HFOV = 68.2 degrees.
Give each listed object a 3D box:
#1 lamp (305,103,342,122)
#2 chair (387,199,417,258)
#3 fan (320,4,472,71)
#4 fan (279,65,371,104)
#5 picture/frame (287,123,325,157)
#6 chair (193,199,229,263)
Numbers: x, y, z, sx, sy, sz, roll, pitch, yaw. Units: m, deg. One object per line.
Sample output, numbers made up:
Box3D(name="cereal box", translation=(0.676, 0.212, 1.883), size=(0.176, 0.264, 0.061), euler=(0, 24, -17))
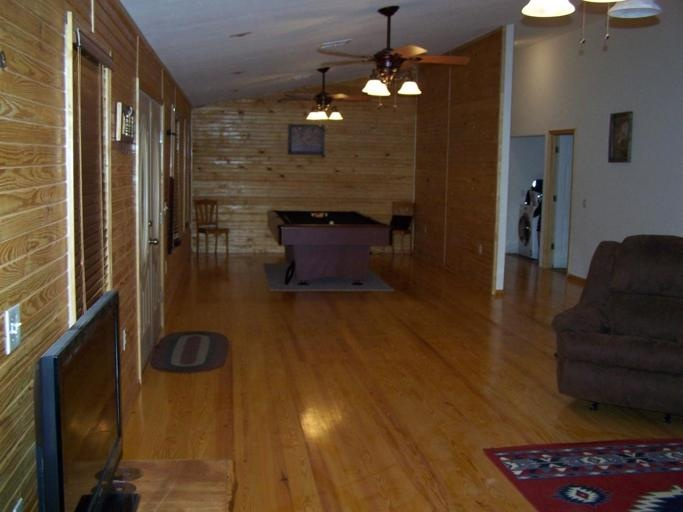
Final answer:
Box3D(name="lamp", translation=(-0.223, -2.102, 7.376), size=(0.330, 0.222, 0.656), euler=(5, 11, 23))
Box3D(name="chair", translation=(1.276, -0.572, 10.501), size=(0.514, 1.094, 0.525), euler=(1, 10, 2))
Box3D(name="fan", translation=(0.611, -2.309, 5.543), size=(1.380, 0.800, 1.933), euler=(2, 10, 5))
Box3D(name="fan", translation=(-0.297, -3.018, 8.502), size=(1.231, 0.484, 1.285), euler=(2, 23, 6))
Box3D(name="picture/frame", translation=(-0.762, -2.397, 10.307), size=(0.636, 0.567, 0.090), euler=(0, 4, -9))
Box3D(name="chair", translation=(-2.555, -0.565, 9.983), size=(0.651, 1.105, 0.958), euler=(-2, 11, -16))
